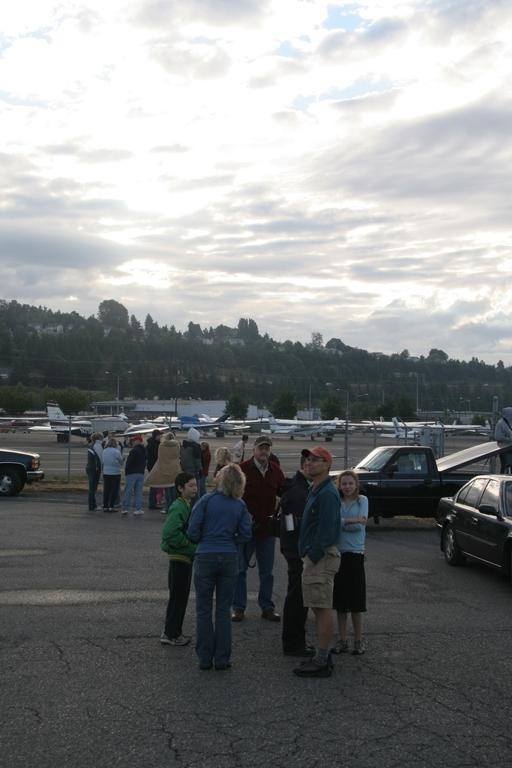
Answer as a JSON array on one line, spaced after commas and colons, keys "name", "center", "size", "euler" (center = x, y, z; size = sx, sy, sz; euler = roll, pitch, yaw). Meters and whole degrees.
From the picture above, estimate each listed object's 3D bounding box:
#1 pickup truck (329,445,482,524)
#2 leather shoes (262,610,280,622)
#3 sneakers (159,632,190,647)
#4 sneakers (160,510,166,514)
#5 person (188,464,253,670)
[{"name": "pickup truck", "center": [2.978, 2.059, 16.283], "size": [3.146, 1.542, 1.793], "euler": [2, -6, -7]}, {"name": "leather shoes", "center": [0.158, 2.374, 7.962], "size": [0.074, 0.090, 0.201], "euler": [3, -10, -26]}, {"name": "sneakers", "center": [-0.713, 2.257, 6.927], "size": [0.275, 0.137, 0.106], "euler": [1, 0, -5]}, {"name": "sneakers", "center": [-2.003, 2.771, 16.826], "size": [0.138, 0.075, 0.227], "euler": [1, -2, -2]}, {"name": "person", "center": [-0.332, 1.481, 6.459], "size": [0.492, 1.313, 0.613], "euler": [1, -1, 13]}]
